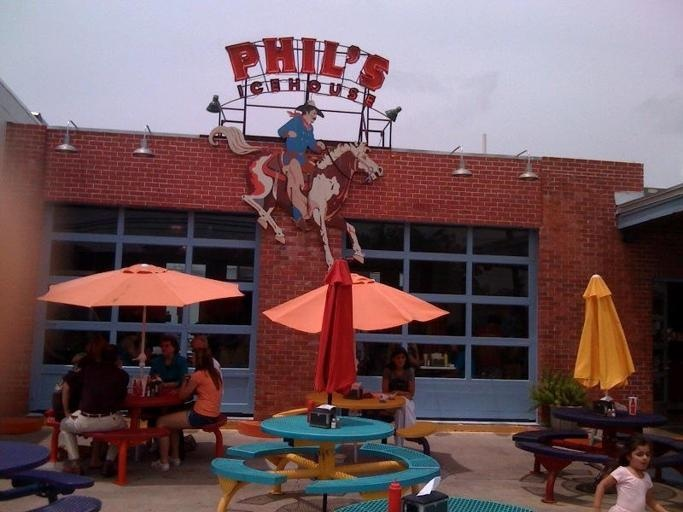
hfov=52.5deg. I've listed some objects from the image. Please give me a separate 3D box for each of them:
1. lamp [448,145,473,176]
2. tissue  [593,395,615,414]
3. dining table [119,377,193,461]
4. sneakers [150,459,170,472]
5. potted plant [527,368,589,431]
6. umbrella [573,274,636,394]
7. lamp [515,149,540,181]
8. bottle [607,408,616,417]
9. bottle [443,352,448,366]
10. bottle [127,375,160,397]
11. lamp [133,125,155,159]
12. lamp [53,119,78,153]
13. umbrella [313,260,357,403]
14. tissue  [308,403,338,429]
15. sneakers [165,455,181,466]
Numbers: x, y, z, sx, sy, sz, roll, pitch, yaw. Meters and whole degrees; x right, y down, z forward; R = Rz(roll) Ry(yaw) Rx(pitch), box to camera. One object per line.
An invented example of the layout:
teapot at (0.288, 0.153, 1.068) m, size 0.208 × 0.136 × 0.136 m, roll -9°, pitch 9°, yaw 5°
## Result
lamp at (2.528, -2.076, 14.748) m, size 0.467 × 0.732 × 0.676 m, roll 0°, pitch -8°, yaw 10°
tissue  at (4.114, 2.344, 10.914) m, size 0.323 × 0.315 × 0.323 m, roll 0°, pitch 0°, yaw -22°
dining table at (-2.932, 2.475, 11.005) m, size 1.033 × 0.636 × 0.941 m, roll 1°, pitch -9°, yaw -7°
sneakers at (-2.775, 3.238, 10.688) m, size 0.294 × 0.122 × 0.122 m, roll 5°, pitch 0°, yaw 29°
potted plant at (4.496, 2.951, 14.787) m, size 1.347 × 1.318 × 1.338 m, roll -4°, pitch -6°, yaw 24°
umbrella at (4.271, 1.248, 11.405) m, size 0.860 × 1.836 × 0.343 m, roll -2°, pitch -9°, yaw 20°
lamp at (4.068, -1.936, 15.025) m, size 0.455 × 0.614 × 0.352 m, roll 1°, pitch -8°, yaw 3°
bottle at (4.192, 2.452, 10.812) m, size 0.143 × 0.133 × 0.141 m, roll 3°, pitch -10°, yaw 1°
bottle at (2.254, 2.232, 14.886) m, size 0.107 × 0.269 × 0.023 m, roll 5°, pitch -9°, yaw -20°
bottle at (-3.166, 2.119, 11.229) m, size 0.354 × 0.317 × 0.343 m, roll 1°, pitch -9°, yaw 0°
lamp at (-3.977, -2.317, 14.100) m, size 0.399 × 0.594 × 0.469 m, roll 4°, pitch -8°, yaw -13°
lamp at (-5.432, -2.398, 13.880) m, size 0.412 × 0.767 × 0.698 m, roll 5°, pitch -9°, yaw -22°
umbrella at (-0.041, 0.958, 9.396) m, size 0.519 × 1.802 × 0.471 m, roll 0°, pitch -9°, yaw 9°
tissue  at (-0.225, 2.116, 9.084) m, size 0.420 × 0.290 × 0.244 m, roll -4°, pitch -11°, yaw 33°
sneakers at (-2.610, 3.241, 10.937) m, size 0.086 × 0.098 × 0.233 m, roll 0°, pitch 1°, yaw -42°
